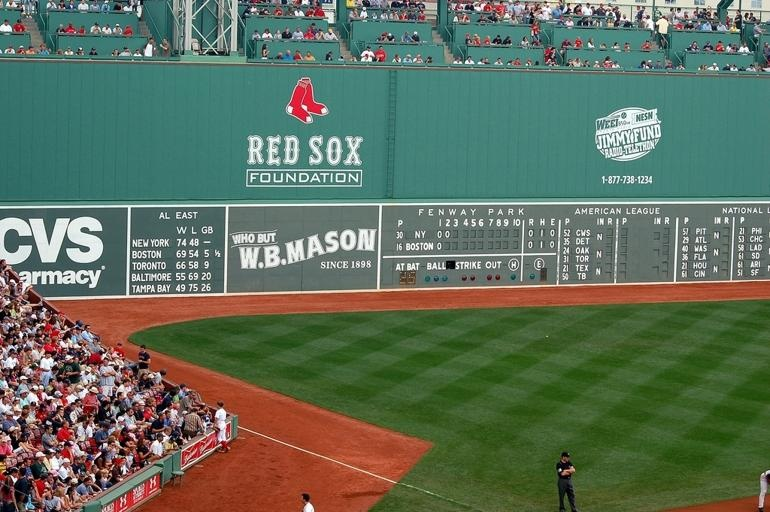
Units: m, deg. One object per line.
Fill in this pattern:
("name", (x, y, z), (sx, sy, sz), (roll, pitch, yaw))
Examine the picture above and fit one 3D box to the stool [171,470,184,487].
("stool", (-6.827, 7.258, 41.534), (0.415, 0.409, 0.415), (-3, 8, -33))
